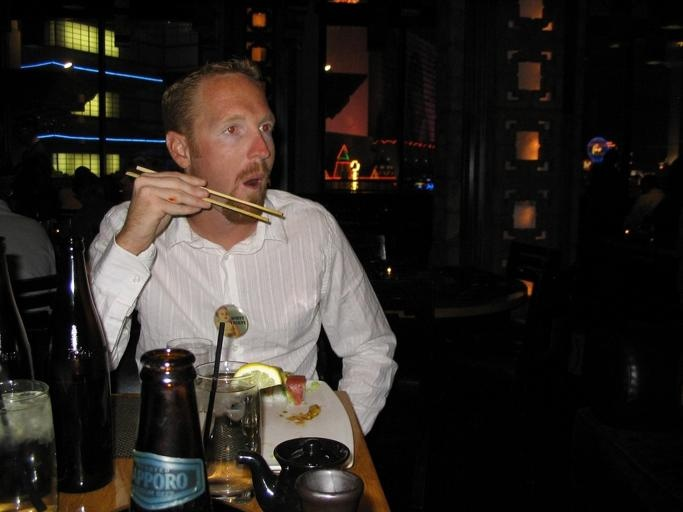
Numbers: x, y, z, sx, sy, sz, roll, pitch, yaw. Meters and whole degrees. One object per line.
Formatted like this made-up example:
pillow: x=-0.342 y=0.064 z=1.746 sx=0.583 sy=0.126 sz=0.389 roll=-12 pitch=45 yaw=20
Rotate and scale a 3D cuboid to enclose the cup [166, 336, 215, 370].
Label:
cup: x=-0.461 y=0.279 z=1.805 sx=0.131 sy=0.103 sz=0.149 roll=0 pitch=-5 yaw=1
